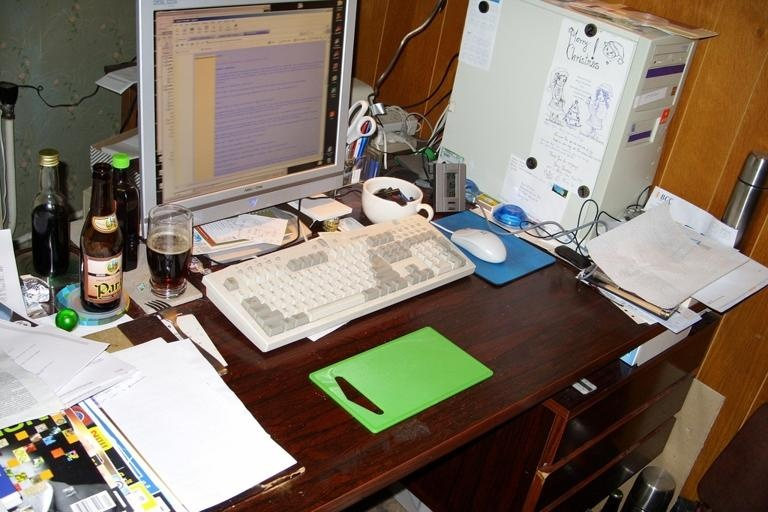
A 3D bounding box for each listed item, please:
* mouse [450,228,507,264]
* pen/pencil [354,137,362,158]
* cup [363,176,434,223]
[{"bbox_3d":[0.251,-0.039,1.479,0.140,0.044,0.078,34,43,28],"label":"mouse"},{"bbox_3d":[-0.075,-0.307,1.556,0.017,0.061,0.013,0,34,-41],"label":"pen/pencil"},{"bbox_3d":[0.026,-0.159,1.528,0.174,0.077,0.138,30,35,15],"label":"cup"}]
